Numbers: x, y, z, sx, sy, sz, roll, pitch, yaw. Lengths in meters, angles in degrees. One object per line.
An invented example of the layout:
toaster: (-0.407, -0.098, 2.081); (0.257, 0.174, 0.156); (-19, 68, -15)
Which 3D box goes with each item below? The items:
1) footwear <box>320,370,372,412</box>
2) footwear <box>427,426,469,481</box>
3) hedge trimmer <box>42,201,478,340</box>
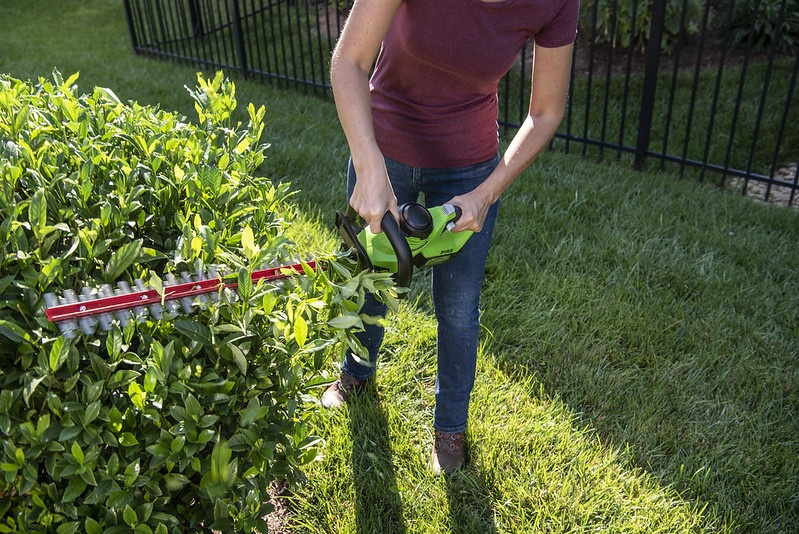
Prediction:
footwear: (-0.290, 0.680, 3.881); (0.118, 0.150, 0.347); (46, 47, 12)
footwear: (0.233, 0.980, 3.780); (0.109, 0.272, 0.346); (10, -4, 0)
hedge trimmer: (-0.628, 0.010, 3.052); (1.060, 0.278, 0.312); (-16, 51, -14)
